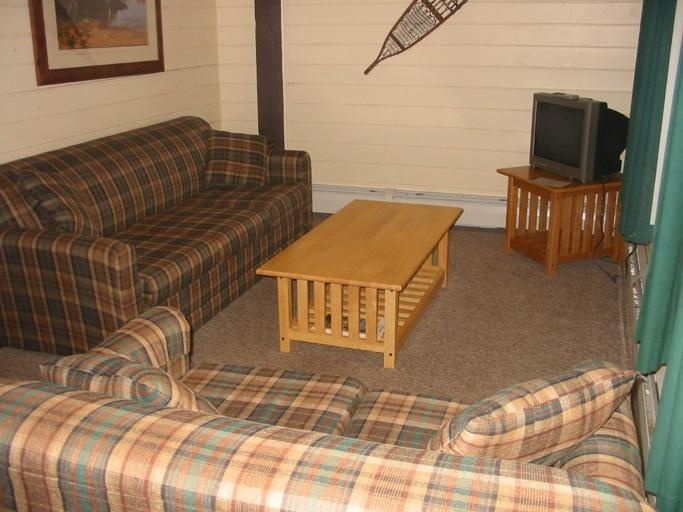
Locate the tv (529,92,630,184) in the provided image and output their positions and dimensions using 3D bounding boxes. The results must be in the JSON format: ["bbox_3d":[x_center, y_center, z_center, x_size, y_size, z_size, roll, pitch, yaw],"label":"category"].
[{"bbox_3d":[1.861,-0.909,4.393,0.536,0.577,0.640,-15,30,-17],"label":"tv"}]

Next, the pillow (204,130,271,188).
[{"bbox_3d":[-0.896,-0.805,4.692,0.599,0.530,0.153,0,0,-5],"label":"pillow"}]

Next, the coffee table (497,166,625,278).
[{"bbox_3d":[1.823,-0.362,4.616,0.992,0.766,0.949,-4,24,-4],"label":"coffee table"}]

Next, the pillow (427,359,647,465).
[{"bbox_3d":[0.475,0.440,1.584,0.635,0.232,0.241,-8,-11,-26],"label":"pillow"}]

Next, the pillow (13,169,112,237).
[{"bbox_3d":[-1.726,-0.318,3.377,0.381,0.398,0.312,13,20,41],"label":"pillow"}]

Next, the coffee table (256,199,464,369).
[{"bbox_3d":[0.147,0.088,3.467,0.983,0.606,1.584,7,26,19],"label":"coffee table"}]
